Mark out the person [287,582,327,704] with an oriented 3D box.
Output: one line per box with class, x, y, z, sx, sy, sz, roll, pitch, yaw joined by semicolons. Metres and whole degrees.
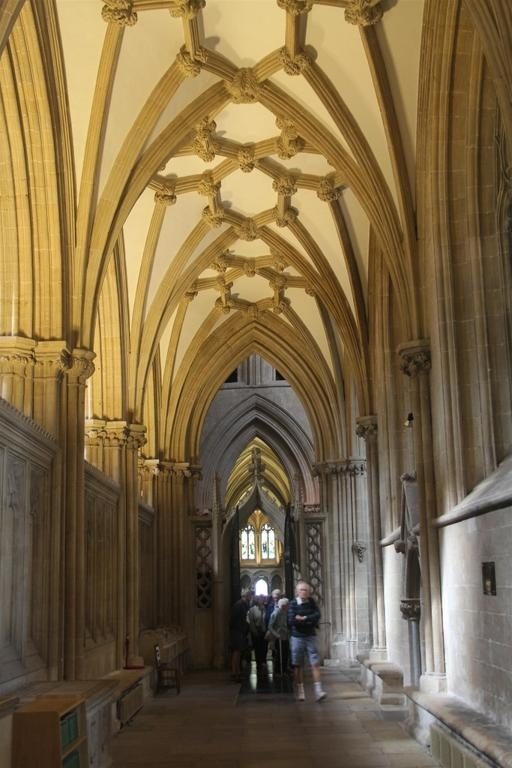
person;0.531;2.742;6.919;0.434;1.208;0.351;-20;-26;40
